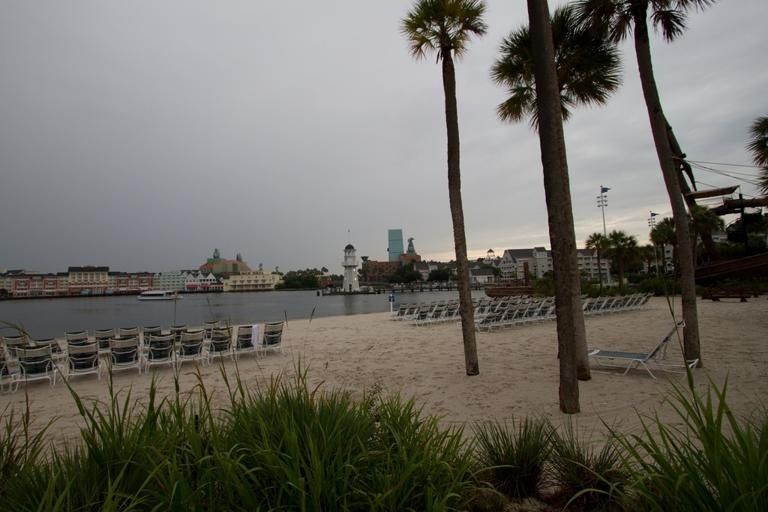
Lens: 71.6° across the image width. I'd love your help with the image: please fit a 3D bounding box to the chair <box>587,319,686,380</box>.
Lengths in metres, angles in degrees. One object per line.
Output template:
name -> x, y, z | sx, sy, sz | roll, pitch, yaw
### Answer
chair -> 5.221, 1.946, 11.356 | 1.960, 1.156, 0.855 | -2, -1, 37
